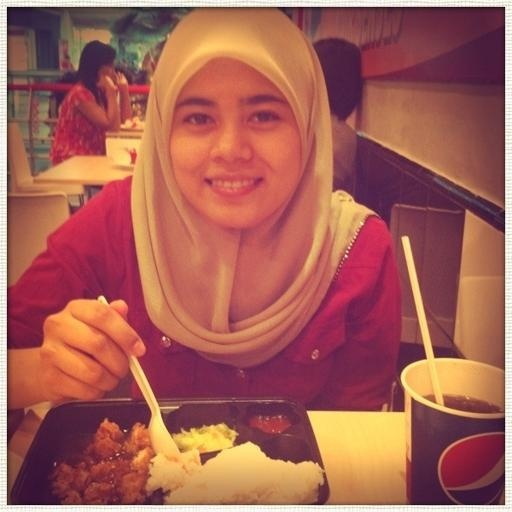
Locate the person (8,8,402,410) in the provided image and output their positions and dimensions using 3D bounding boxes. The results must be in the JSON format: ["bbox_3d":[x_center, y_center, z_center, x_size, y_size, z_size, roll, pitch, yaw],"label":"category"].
[{"bbox_3d":[-0.141,-0.159,1.223,0.651,0.925,0.463,1,26,0],"label":"person"}]

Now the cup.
[{"bbox_3d":[0.311,0.295,0.771,0.167,0.245,0.140,5,7,18],"label":"cup"}]
